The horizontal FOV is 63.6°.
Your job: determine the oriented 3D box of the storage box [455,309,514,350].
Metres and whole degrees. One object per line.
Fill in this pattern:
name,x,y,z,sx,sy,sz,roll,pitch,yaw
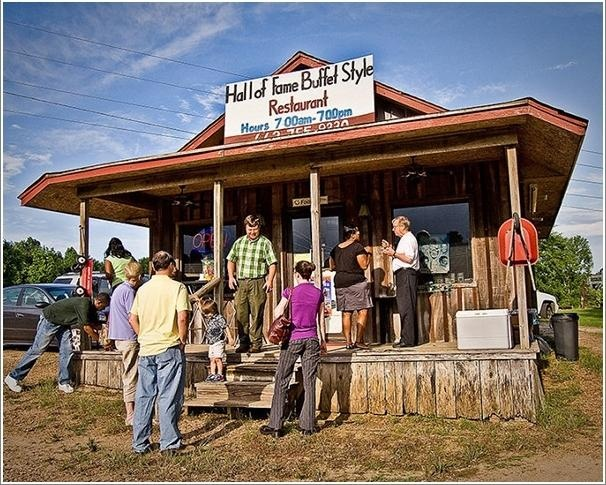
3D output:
storage box,2.581,1.250,7.044,0.848,0.668,0.542,-1,-4,17

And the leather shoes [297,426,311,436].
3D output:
leather shoes,0.009,2.433,6.336,0.077,0.125,0.121,10,-4,-35

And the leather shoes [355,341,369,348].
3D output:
leather shoes,0.977,1.704,8.114,0.324,0.145,0.107,7,-4,-39

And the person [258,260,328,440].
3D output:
person,-0.111,1.367,6.406,0.779,2.226,0.411,-2,2,-3

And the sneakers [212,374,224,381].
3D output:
sneakers,-1.297,2.059,7.432,0.162,0.098,0.237,-2,2,-4

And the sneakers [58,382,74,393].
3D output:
sneakers,-4.214,2.574,8.703,0.260,0.118,0.126,2,-1,20

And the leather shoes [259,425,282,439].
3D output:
leather shoes,-0.434,2.410,6.289,0.276,0.129,0.115,10,0,29

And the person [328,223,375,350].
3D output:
person,0.781,0.742,8.022,0.617,1.994,0.552,-1,2,4

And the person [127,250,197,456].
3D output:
person,-1.719,1.323,5.876,0.744,2.408,0.351,-1,2,13

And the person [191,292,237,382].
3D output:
person,-1.488,1.589,8.242,0.890,1.755,0.551,-15,-26,27

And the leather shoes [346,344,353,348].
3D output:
leather shoes,0.735,1.656,7.845,0.113,0.075,0.136,-1,2,12

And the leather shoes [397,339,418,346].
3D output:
leather shoes,1.630,1.565,7.641,0.272,0.128,0.123,-2,1,-1

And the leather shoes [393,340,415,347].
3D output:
leather shoes,1.567,1.579,7.643,0.306,0.135,0.140,3,-9,2

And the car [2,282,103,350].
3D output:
car,-6.392,1.700,12.081,2.862,1.461,1.568,-4,-5,7

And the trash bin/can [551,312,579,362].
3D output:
trash bin/can,5.145,1.841,9.632,0.457,0.976,0.640,-1,2,28

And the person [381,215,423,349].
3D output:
person,1.563,0.604,7.694,0.393,2.017,0.408,0,2,32

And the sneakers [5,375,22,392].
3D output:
sneakers,-5.087,2.461,8.578,0.320,0.139,0.132,37,5,3

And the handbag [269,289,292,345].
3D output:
handbag,-0.285,1.002,6.339,0.426,0.614,0.245,-3,2,-43
